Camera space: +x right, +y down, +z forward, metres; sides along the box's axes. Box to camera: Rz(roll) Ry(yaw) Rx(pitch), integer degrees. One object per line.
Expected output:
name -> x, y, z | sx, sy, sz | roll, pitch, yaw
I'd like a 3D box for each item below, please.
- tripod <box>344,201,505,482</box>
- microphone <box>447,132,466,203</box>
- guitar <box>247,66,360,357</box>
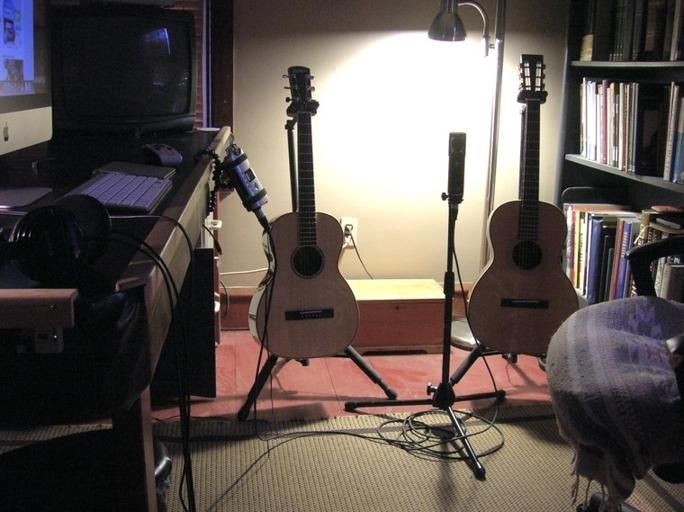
tripod -> 0.314, 0.346, 2.349 | 0.669, 1.047, 0.625 | -2, 21, 1
microphone -> 0.357, -0.277, 1.849 | 0.051, 0.228, 0.140 | 5, 15, 13
guitar -> -0.160, -0.109, 2.085 | 0.353, 1.086, 0.323 | -9, 18, -35
